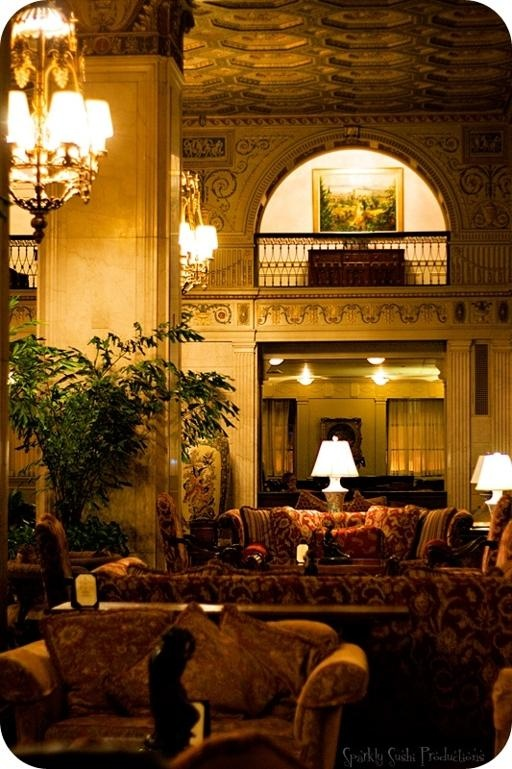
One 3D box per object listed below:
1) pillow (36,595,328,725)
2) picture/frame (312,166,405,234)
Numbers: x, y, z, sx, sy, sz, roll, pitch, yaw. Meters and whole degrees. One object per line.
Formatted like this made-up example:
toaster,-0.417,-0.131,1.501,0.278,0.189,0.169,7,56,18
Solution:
pillow,-0.266,0.944,2.697,0.615,0.203,0.520,2,12,8
picture/frame,1.889,-3.306,14.057,1.461,1.047,0.057,0,0,7
